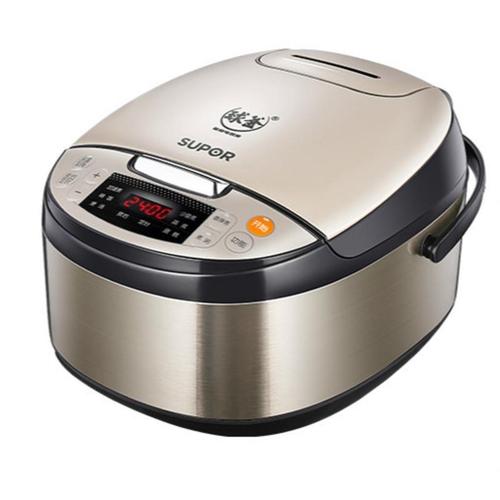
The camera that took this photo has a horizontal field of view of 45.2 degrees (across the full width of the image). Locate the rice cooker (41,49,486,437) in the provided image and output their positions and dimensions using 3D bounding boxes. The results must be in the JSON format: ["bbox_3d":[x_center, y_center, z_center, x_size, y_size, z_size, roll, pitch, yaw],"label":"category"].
[{"bbox_3d":[0.064,-0.136,1.065,0.582,0.329,0.684,30,56,27],"label":"rice cooker"}]
